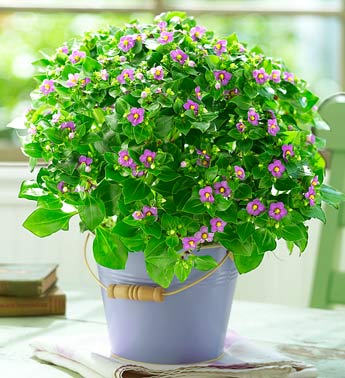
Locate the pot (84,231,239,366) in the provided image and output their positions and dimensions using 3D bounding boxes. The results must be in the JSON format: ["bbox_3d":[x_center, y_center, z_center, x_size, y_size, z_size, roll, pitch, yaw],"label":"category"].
[{"bbox_3d":[-0.002,0.137,0.646,0.214,0.122,0.187,-2,-8,20],"label":"pot"}]
